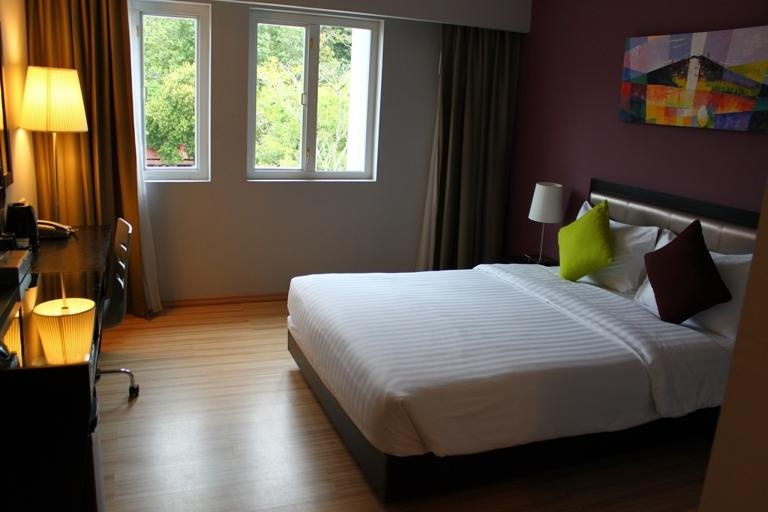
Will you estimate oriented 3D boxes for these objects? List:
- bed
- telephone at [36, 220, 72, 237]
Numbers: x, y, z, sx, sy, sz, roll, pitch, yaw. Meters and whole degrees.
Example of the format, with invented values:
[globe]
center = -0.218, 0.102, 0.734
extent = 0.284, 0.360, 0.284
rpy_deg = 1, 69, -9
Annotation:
[bed]
center = 0.866, 0.534, 3.451
extent = 2.255, 1.147, 1.963
rpy_deg = -8, 20, -18
[telephone]
center = -2.380, -0.195, 3.806
extent = 0.138, 0.067, 0.174
rpy_deg = -4, 16, -20
